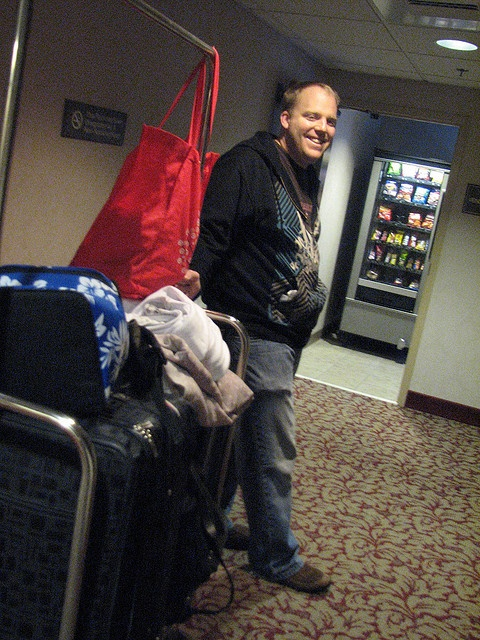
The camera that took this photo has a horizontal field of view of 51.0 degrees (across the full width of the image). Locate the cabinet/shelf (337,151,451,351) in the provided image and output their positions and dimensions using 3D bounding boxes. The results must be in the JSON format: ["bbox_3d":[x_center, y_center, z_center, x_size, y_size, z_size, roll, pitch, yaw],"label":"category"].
[{"bbox_3d":[1.768,-0.767,5.838,0.902,2.087,0.909,17,14,18],"label":"cabinet/shelf"}]

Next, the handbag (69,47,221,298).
[{"bbox_3d":[-0.276,-0.285,1.386,0.334,0.468,0.122,11,13,-8],"label":"handbag"}]

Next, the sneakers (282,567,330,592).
[{"bbox_3d":[0.244,0.935,1.824,0.151,0.067,0.084,-1,7,5],"label":"sneakers"}]
